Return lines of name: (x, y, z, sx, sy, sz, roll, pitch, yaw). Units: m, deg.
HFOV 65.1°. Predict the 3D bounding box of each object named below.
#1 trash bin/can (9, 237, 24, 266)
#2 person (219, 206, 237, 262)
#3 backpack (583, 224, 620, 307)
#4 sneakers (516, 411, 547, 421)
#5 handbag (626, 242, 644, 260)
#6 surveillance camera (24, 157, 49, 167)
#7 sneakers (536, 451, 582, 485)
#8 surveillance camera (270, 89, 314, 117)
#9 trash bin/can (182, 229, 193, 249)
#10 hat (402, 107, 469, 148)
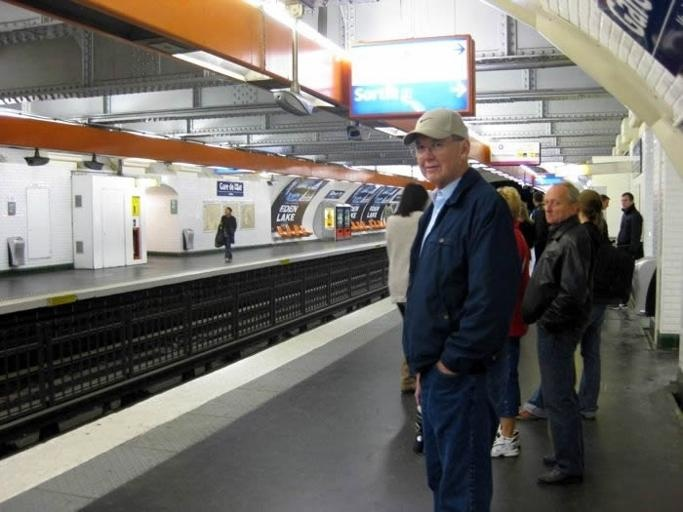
trash bin/can: (-7.369, -0.096, 12.153, 0.186, 0.683, 0.370, 5, 8, 42)
person: (-3.355, -0.671, 15.832, 0.446, 1.506, 1.571, -2, 7, -12)
backpack: (2.644, 0.011, 5.413, 0.344, 0.639, 0.460, 11, 23, 25)
sneakers: (1.713, 1.451, 4.803, 0.250, 0.113, 0.097, 5, -2, 14)
handbag: (5.075, -0.095, 9.244, 0.239, 0.306, 0.326, -4, -12, 38)
surveillance camera: (-6.448, -1.988, 11.261, 0.292, 0.291, 0.402, 0, 4, 18)
sneakers: (1.522, 1.519, 3.852, 0.366, 0.242, 0.125, 3, -3, 18)
surveillance camera: (-0.517, -1.674, 5.752, 0.282, 0.255, 0.493, 1, 7, 15)
trash bin/can: (-4.957, -0.534, 17.314, 0.401, 0.677, 0.181, -4, 7, -32)
hat: (0.510, -0.688, 2.830, 0.262, 0.195, 0.381, 5, 5, 35)
